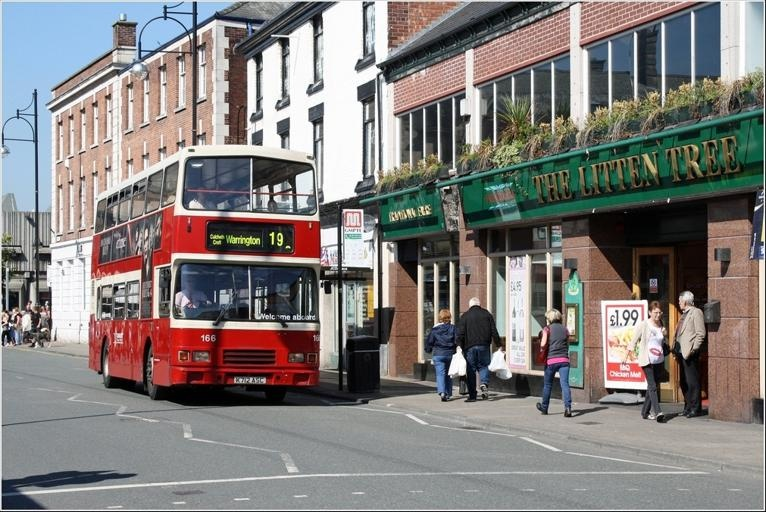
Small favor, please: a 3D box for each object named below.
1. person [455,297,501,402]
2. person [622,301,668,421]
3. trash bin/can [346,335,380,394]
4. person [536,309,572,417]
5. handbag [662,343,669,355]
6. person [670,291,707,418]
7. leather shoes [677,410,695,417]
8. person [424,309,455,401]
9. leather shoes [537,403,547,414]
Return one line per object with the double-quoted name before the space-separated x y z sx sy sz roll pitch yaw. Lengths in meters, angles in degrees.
"person" 2.279 2.274 28.041 1.047 2.485 0.774 3 -2 7
"person" 5.755 2.258 25.030 0.750 2.502 1.105 2 -2 12
"trash bin/can" -0.535 2.833 29.839 0.760 1.391 0.792 0 -7 -20
"person" 3.887 2.359 25.695 0.748 2.322 1.011 3 -2 7
"handbag" 6.265 2.042 25.429 0.197 0.269 0.280 2 0 13
"person" 6.664 2.130 25.014 0.676 2.706 1.125 2 -2 15
"leather shoes" 6.639 3.422 25.097 0.341 0.144 0.105 -5 15 -2
"person" 1.428 2.407 28.266 0.703 2.190 0.851 3 -2 3
"leather shoes" 3.577 3.385 25.836 0.101 0.128 0.295 -5 31 -13
